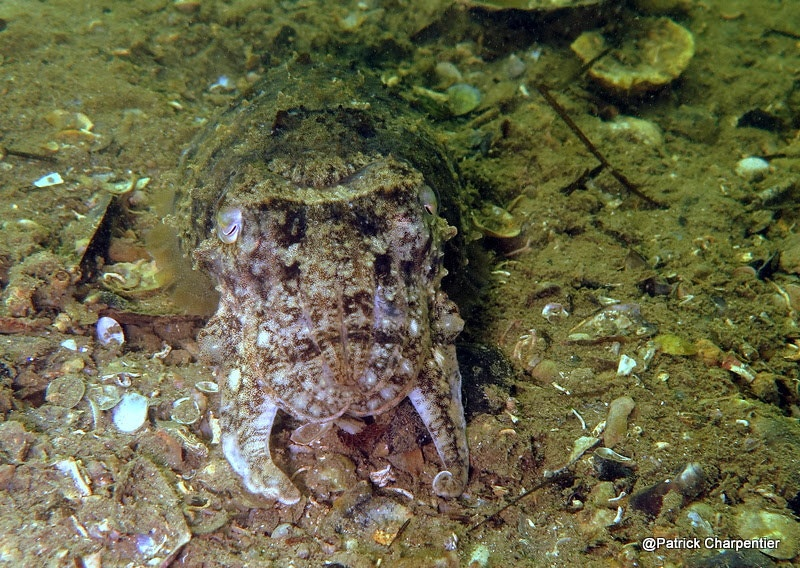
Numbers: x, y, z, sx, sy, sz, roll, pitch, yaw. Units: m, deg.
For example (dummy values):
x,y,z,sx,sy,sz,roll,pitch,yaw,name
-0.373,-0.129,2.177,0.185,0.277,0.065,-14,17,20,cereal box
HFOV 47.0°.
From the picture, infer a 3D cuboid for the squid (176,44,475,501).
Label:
x,y,z,sx,sy,sz,roll,pitch,yaw,name
-0.794,-0.311,9.291,3.232,1.666,5.339,-9,60,-18,squid
